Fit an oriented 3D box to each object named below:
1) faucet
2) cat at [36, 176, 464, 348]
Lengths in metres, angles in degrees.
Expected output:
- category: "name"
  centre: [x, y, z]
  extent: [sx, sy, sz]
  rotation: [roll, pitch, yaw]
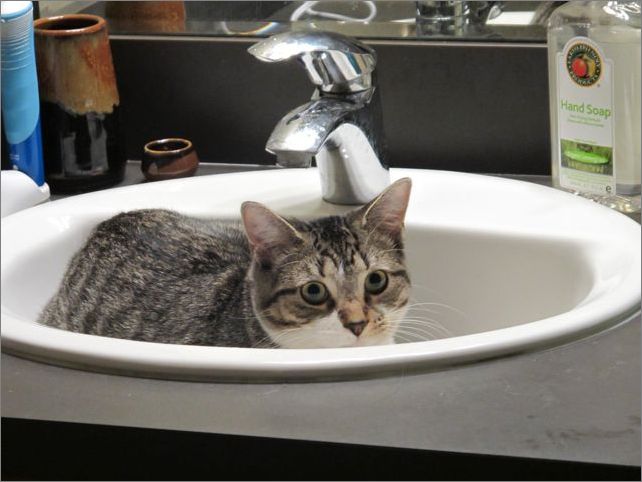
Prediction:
- category: "faucet"
  centre: [0.010, -0.124, 0.633]
  extent: [0.087, 0.210, 0.207]
  rotation: [13, 35, 27]
- category: "cat"
  centre: [-0.098, 0.016, 0.643]
  extent: [0.297, 0.179, 0.192]
  rotation: [3, 8, 23]
